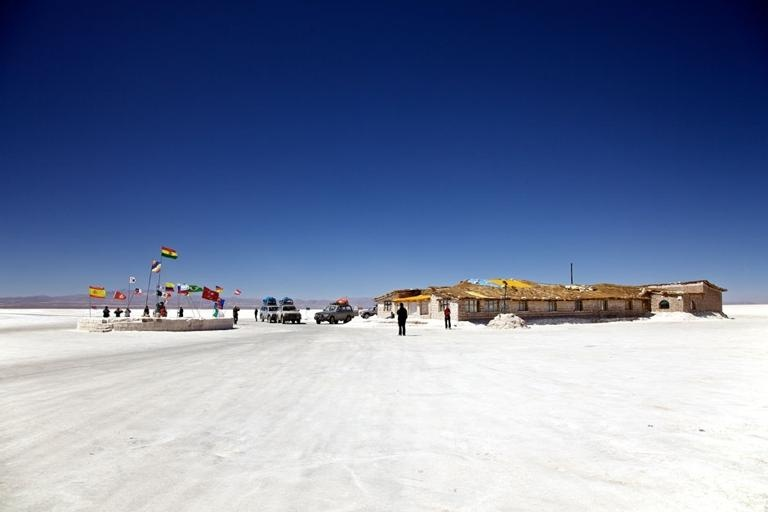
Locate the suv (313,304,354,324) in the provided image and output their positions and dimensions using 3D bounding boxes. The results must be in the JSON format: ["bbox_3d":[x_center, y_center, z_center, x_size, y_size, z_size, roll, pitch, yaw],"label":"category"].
[{"bbox_3d":[-5.068,6.076,53.582,3.825,1.394,2.000,9,-15,-40],"label":"suv"}]

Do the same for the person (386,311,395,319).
[{"bbox_3d":[0.846,6.198,53.958,0.869,0.643,1.284,5,-13,-13],"label":"person"}]

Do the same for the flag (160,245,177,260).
[{"bbox_3d":[-11.977,-0.113,28.752,0.964,0.542,0.102,3,-3,-11],"label":"flag"}]

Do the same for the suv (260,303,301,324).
[{"bbox_3d":[-10.802,6.176,54.756,2.220,1.447,5.906,2,-7,-28],"label":"suv"}]
